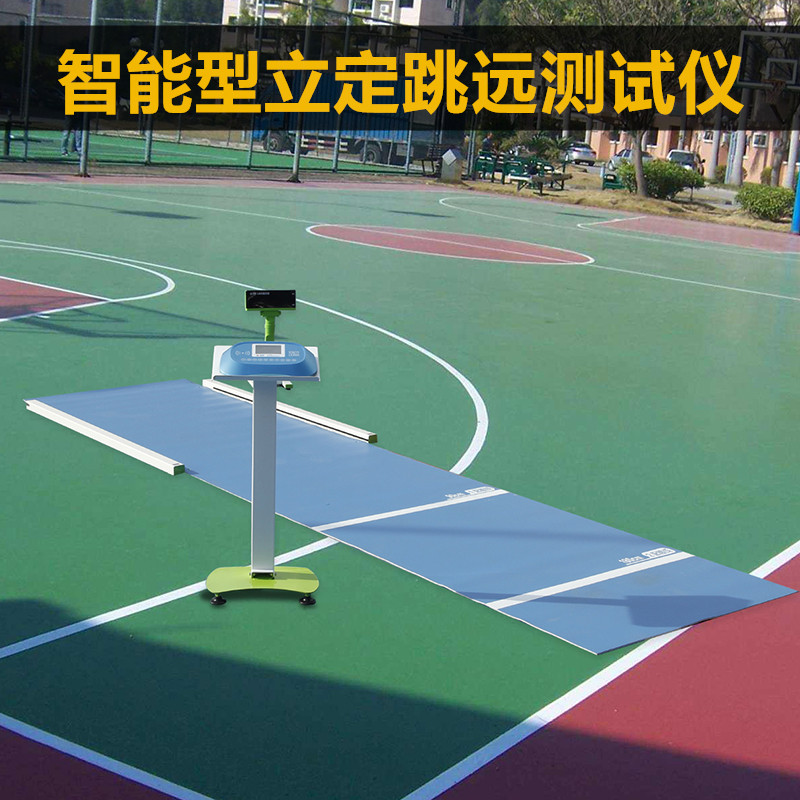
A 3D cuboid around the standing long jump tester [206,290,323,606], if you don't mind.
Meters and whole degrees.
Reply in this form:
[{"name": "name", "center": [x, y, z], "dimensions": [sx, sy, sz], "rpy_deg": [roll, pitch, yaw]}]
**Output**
[{"name": "standing long jump tester", "center": [-0.621, 0.206, 4.187], "dimensions": [0.649, 1.489, 0.646], "rpy_deg": [7, 12, -11]}]
